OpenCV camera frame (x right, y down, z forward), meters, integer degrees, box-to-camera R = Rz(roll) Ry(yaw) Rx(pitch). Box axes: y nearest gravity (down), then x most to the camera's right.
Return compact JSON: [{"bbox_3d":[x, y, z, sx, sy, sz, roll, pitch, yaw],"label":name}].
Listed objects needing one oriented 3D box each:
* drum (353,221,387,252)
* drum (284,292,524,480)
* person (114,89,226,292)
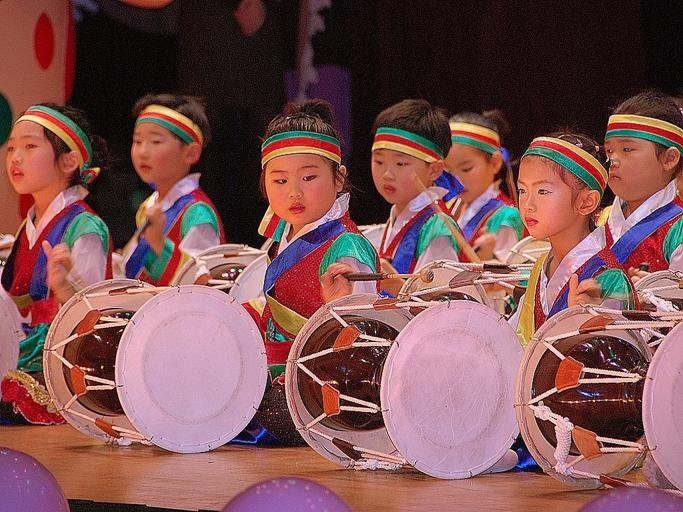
[{"bbox_3d":[0.140,-0.093,3.659,0.187,0.089,0.234,4,24,1],"label":"drum"},{"bbox_3d":[0.175,0.412,2.397,0.771,0.571,0.373,0,1,12],"label":"drum"},{"bbox_3d":[-0.885,-0.370,3.972,0.523,1.024,0.701,0,1,-17],"label":"person"}]
